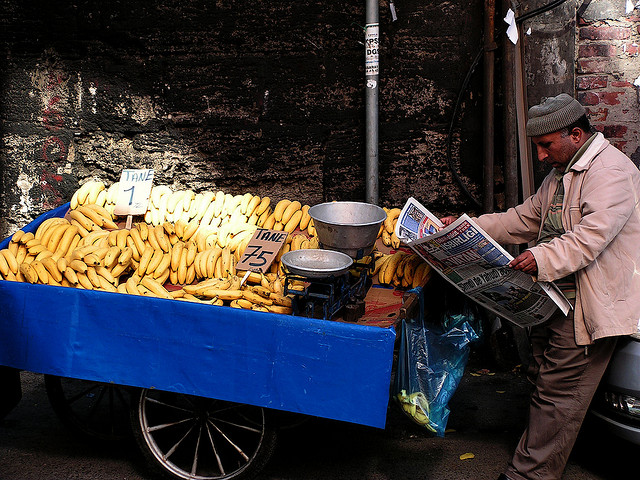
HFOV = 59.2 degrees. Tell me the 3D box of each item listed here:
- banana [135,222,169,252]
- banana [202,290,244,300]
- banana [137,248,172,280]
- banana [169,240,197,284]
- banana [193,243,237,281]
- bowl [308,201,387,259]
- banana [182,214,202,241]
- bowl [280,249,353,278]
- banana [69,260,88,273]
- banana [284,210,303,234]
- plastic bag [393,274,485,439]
[{"bbox_3d":[-1.373,-0.038,4.602,0.180,0.085,0.318,-12,42,-17],"label":"banana"},{"bbox_3d":[-0.682,0.392,3.940,0.310,0.075,0.074,5,8,16],"label":"banana"},{"bbox_3d":[-1.269,0.176,4.341,0.220,0.073,0.227,9,44,-5],"label":"banana"},{"bbox_3d":[-1.050,0.159,4.367,0.173,0.122,0.351,7,52,0],"label":"banana"},{"bbox_3d":[-0.811,0.169,4.324,0.222,0.098,0.302,-4,41,-10],"label":"banana"},{"bbox_3d":[0.207,-0.070,3.885,0.459,0.224,0.454,1,11,0],"label":"bowl"},{"bbox_3d":[-1.071,-0.092,4.757,0.065,0.092,0.292,-15,23,29],"label":"banana"},{"bbox_3d":[-0.027,0.155,3.587,0.431,0.126,0.405,2,7,0],"label":"bowl"},{"bbox_3d":[-1.776,0.200,4.119,0.193,0.085,0.060,6,9,29],"label":"banana"},{"bbox_3d":[-0.222,-0.136,4.758,0.076,0.077,0.252,20,48,17],"label":"banana"},{"bbox_3d":[0.771,0.776,3.782,0.616,1.311,0.674,7,12,15],"label":"plastic bag"}]
